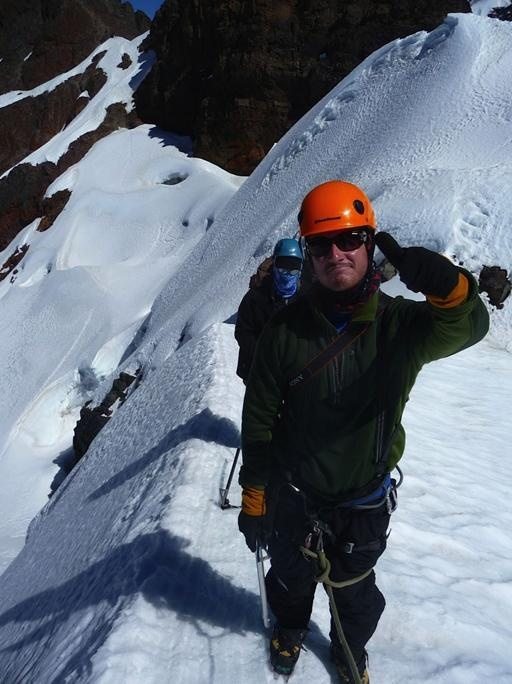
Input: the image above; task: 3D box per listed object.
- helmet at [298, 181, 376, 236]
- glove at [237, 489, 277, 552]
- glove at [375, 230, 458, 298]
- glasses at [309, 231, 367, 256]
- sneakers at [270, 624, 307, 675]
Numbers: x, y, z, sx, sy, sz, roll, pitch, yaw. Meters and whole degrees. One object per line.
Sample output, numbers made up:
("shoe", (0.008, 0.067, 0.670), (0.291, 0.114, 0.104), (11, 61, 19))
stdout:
("helmet", (0.480, -0.808, 3.971), (0.374, 0.295, 0.426), (-14, 7, 10))
("glove", (-0.022, 1.169, 4.385), (0.333, 0.405, 0.422), (-1, 23, -5))
("glove", (0.853, -0.435, 3.516), (0.468, 0.265, 0.182), (33, 18, 1))
("glasses", (0.476, -0.600, 3.928), (0.215, 0.205, 0.059), (-7, 78, 15))
("sneakers", (0.224, 2.138, 4.468), (0.165, 0.192, 0.443), (9, 55, -4))
